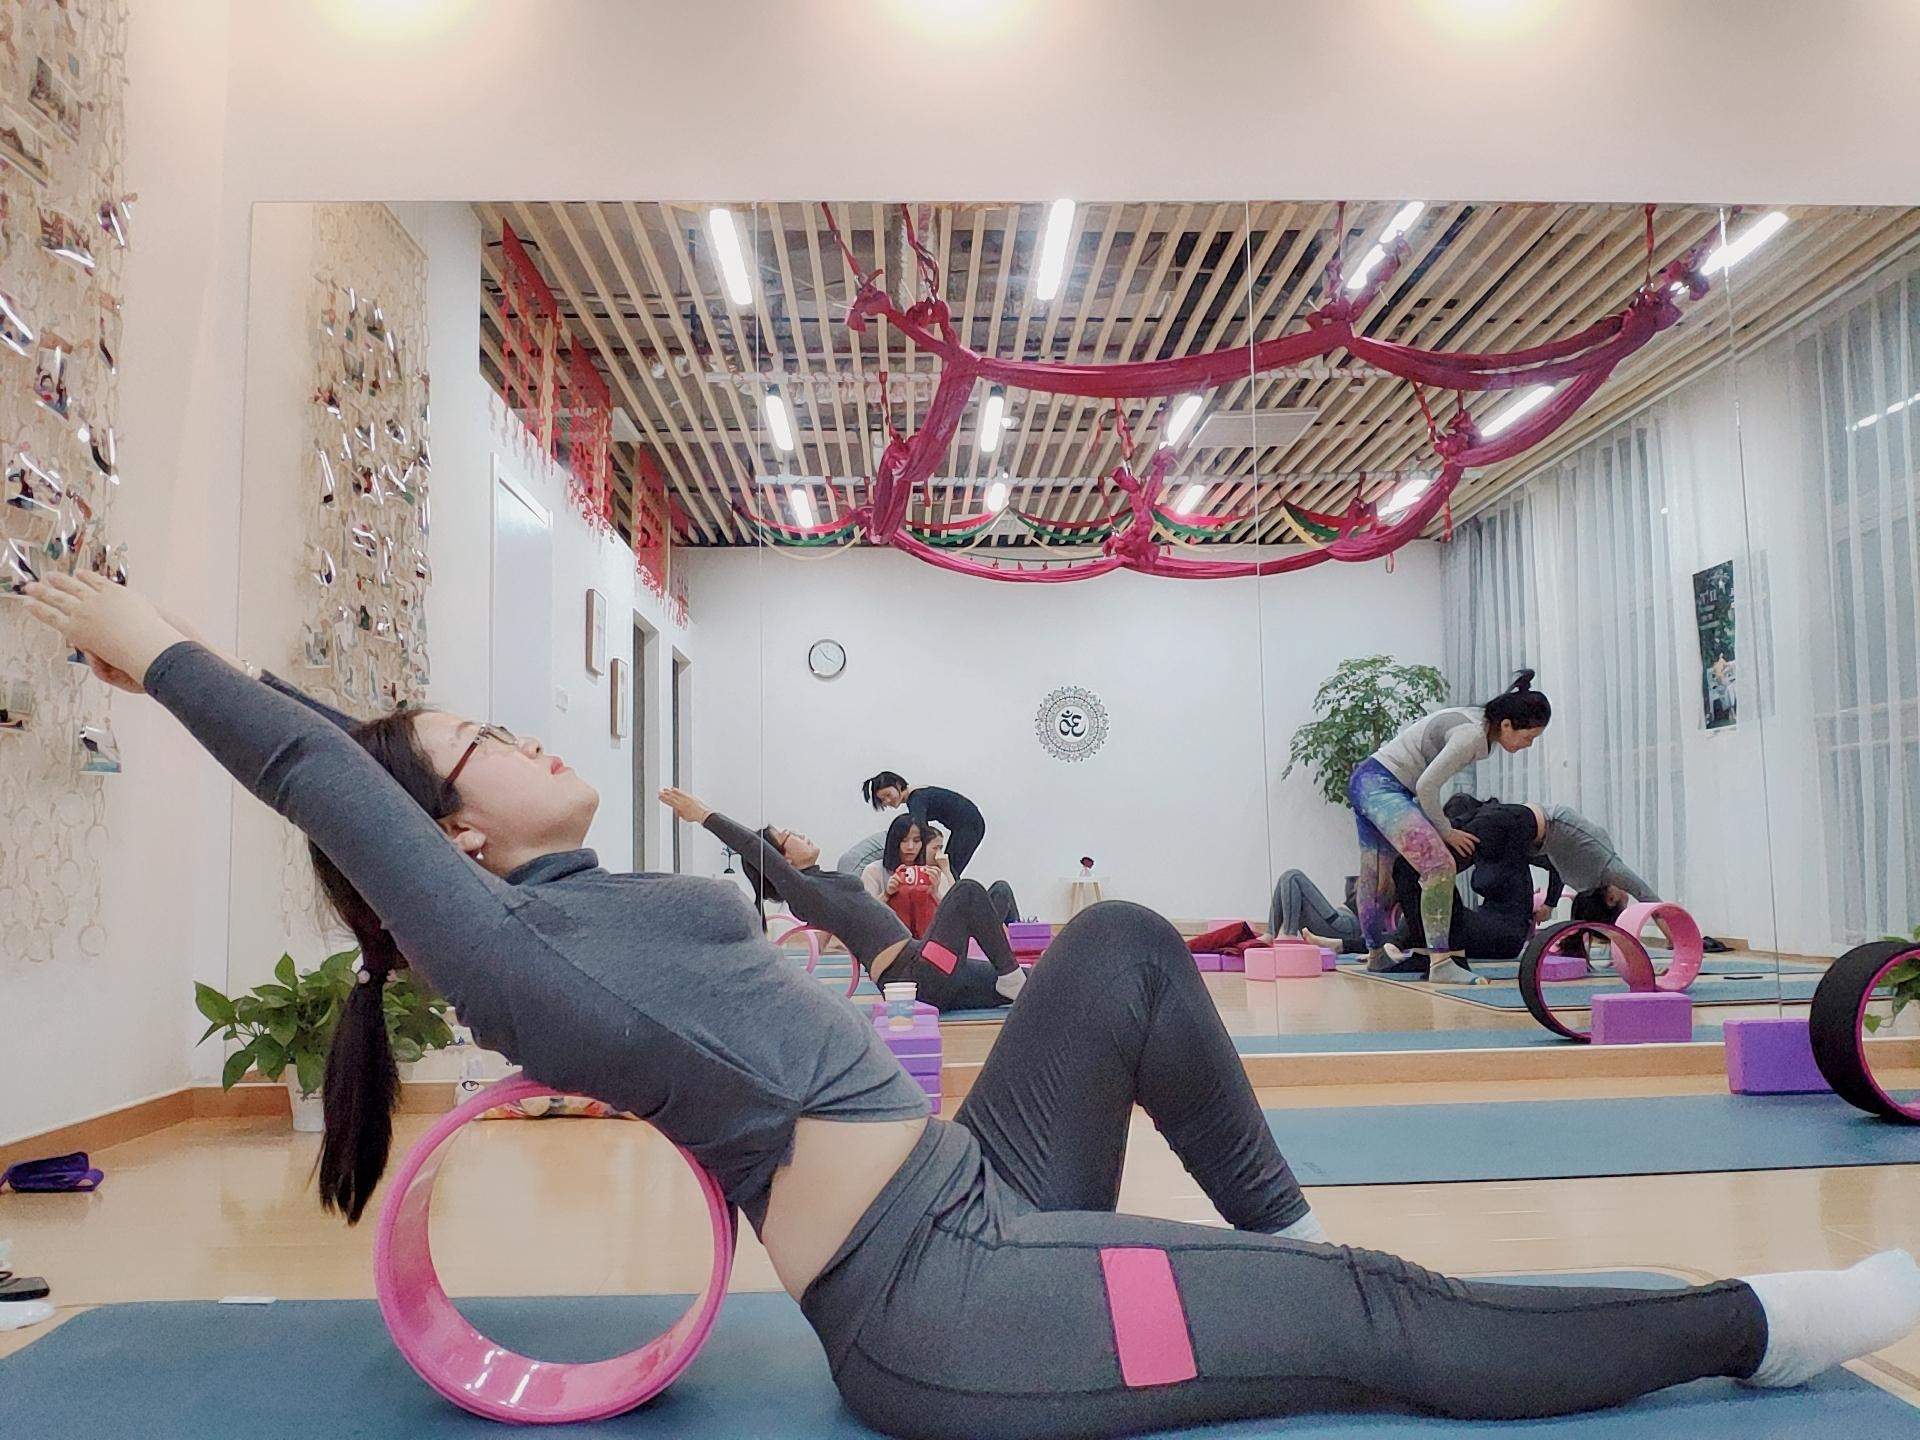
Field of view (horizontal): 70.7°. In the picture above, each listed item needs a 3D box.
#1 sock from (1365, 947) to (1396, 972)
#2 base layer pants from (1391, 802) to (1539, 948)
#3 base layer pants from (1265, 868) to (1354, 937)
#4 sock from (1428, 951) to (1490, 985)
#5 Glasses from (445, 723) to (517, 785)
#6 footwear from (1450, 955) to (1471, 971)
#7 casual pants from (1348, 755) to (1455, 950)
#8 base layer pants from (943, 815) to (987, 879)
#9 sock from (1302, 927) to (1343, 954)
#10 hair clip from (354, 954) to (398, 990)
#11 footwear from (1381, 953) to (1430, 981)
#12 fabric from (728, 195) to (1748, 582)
[{"bbox_3d":[1.382,0.787,4.436,0.096,0.065,0.098,-8,-7,-8],"label":"sock"},{"bbox_3d":[1.693,0.552,4.510,0.449,0.543,0.390,-1,2,10],"label":"base layer pants"},{"bbox_3d":[1.128,0.588,4.399,0.249,0.149,0.108,-23,-4,-24],"label":"base layer pants"},{"bbox_3d":[1.611,0.823,4.420,0.218,0.098,0.070,-6,-6,36],"label":"sock"},{"bbox_3d":[-0.666,0.054,1.862,0.021,0.080,0.075,30,5,-11],"label":"Glasses"},{"bbox_3d":[1.628,0.791,4.391,0.052,0.038,0.027,-2,18,41],"label":"footwear"},{"bbox_3d":[1.453,0.450,4.480,0.259,0.688,0.346,-14,5,-31],"label":"casual pants"},{"bbox_3d":[0.010,0.419,4.424,0.149,0.189,0.072,11,-6,13],"label":"base layer pants"},{"bbox_3d":[1.178,0.723,4.413,0.126,0.039,0.034,21,24,0],"label":"sock"},{"bbox_3d":[-0.833,0.361,1.912,0.058,0.061,0.018,10,8,-18],"label":"hair clip"},{"bbox_3d":[1.455,0.821,4.478,0.203,0.084,0.070,6,-16,2],"label":"footwear"},{"bbox_3d":[0.937,-0.951,4.465,1.757,0.326,1.738,-2,-34,-4],"label":"fabric"}]
